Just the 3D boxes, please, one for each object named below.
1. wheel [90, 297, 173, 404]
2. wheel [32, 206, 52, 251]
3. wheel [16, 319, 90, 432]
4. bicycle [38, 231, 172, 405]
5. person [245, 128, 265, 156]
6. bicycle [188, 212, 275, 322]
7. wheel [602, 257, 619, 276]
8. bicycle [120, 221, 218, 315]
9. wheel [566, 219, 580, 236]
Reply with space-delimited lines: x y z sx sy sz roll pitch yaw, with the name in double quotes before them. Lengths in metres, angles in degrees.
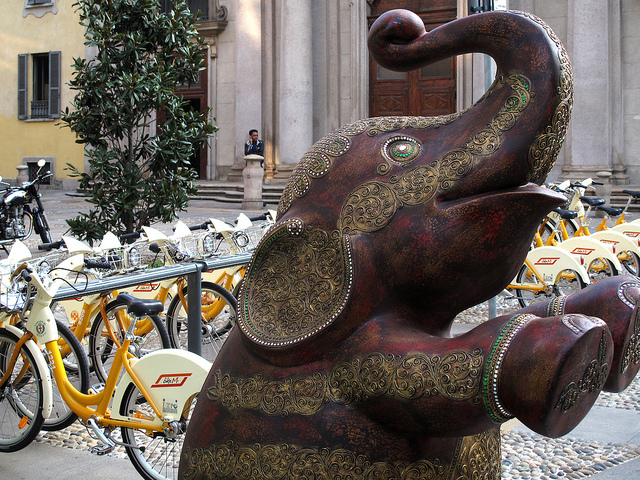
"wheel" -1.488 0.742 5.671 0.424 0.522 0.473 18 -12 13
"wheel" -4.043 -0.159 11.389 0.124 0.964 0.105 -36 -31 20
"wheel" -1.633 0.823 4.765 0.520 0.629 0.111 13 7 27
"bicycle" -1.520 0.492 5.623 1.356 1.007 0.719 9 7 27
"person" -1.666 -2.415 19.798 0.417 0.588 0.719 -1 11 -6
"bicycle" -0.778 0.187 6.763 1.000 0.739 0.647 6 12 41
"wheel" 2.925 0.253 7.936 0.031 0.152 0.142 -17 23 -5
"bicycle" -1.224 0.201 6.459 0.512 0.579 0.797 -9 8 -44
"wheel" 3.039 -0.176 9.418 0.054 0.207 0.185 -11 3 -15
